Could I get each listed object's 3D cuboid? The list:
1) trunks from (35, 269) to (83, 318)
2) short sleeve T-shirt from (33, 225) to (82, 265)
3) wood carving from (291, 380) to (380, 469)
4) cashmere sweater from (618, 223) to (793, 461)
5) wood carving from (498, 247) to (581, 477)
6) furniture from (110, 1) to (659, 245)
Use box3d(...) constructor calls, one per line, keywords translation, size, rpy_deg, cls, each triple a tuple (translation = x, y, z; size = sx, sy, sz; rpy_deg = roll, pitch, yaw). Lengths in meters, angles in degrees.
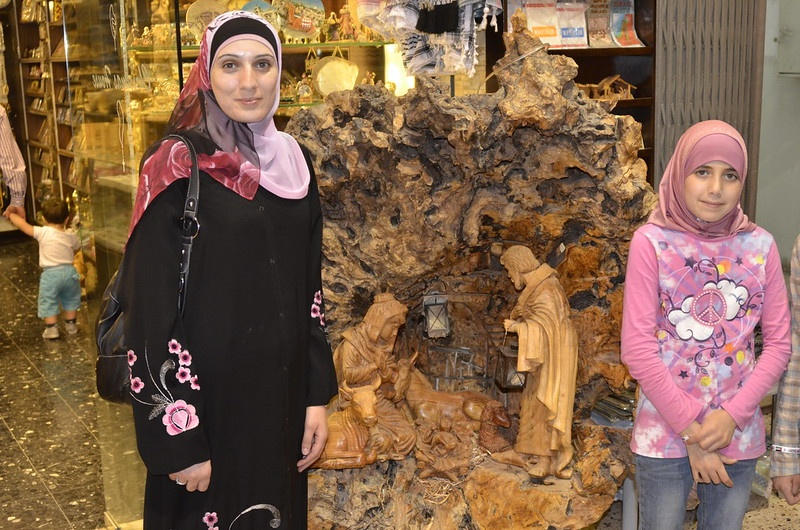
box3d(translation=(-3.417, 0.293, 7.437), size=(0.263, 0.533, 0.396), rpy_deg=(15, 16, 42), cls="trunks")
box3d(translation=(-3.359, -0.177, 7.255), size=(0.395, 0.403, 0.301), rpy_deg=(-5, 7, -27), cls="short sleeve T-shirt")
box3d(translation=(-0.316, 0.844, 4.170), size=(0.392, 0.496, 0.374), rpy_deg=(2, 14, 11), cls="wood carving")
box3d(translation=(1.329, 0.270, 3.231), size=(0.735, 0.882, 0.200), rpy_deg=(-3, 6, -8), cls="cashmere sweater")
box3d(translation=(0.757, 0.537, 4.120), size=(0.432, 1.266, 0.260), rpy_deg=(0, 6, 15), cls="wood carving")
box3d(translation=(0.256, -0.633, 3.821), size=(1.923, 0.840, 1.352), rpy_deg=(-10, 47, -5), cls="furniture")
